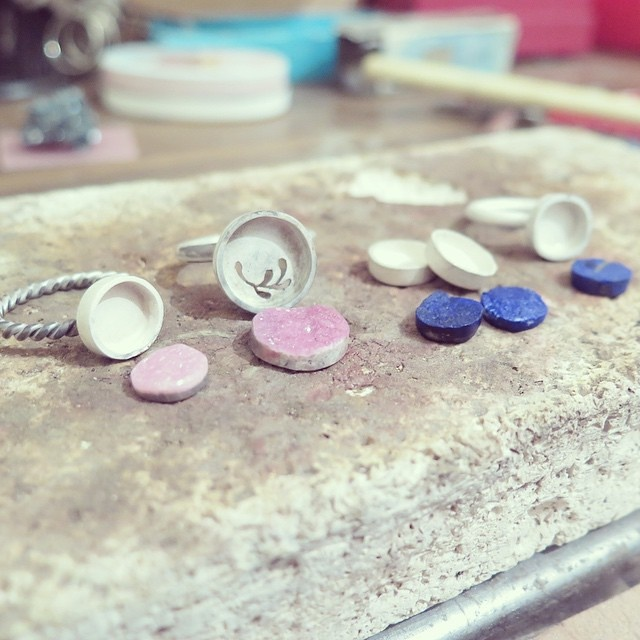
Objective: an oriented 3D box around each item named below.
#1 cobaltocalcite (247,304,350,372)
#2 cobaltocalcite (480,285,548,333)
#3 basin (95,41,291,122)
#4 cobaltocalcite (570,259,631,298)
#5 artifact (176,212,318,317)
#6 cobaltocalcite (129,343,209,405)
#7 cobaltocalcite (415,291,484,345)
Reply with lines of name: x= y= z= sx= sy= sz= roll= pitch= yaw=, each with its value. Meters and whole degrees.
cobaltocalcite: x=-0.030 y=0.023 z=1.065 sx=0.132 sy=0.053 sz=0.102 roll=-1 pitch=34 yaw=-3
cobaltocalcite: x=0.284 y=-0.020 z=1.160 sx=0.094 sy=0.034 sz=0.105 roll=16 pitch=36 yaw=22
basin: x=-0.274 y=-0.471 z=1.573 sx=0.391 sy=0.134 sz=0.157 roll=12 pitch=39 yaw=16
cobaltocalcite: x=0.453 y=-0.078 z=1.268 sx=0.092 sy=0.035 sz=0.121 roll=14 pitch=35 yaw=19
artifact: x=-0.074 y=-0.079 z=1.109 sx=0.115 sy=0.150 sz=0.127 roll=16 pitch=42 yaw=16
cobaltocalcite: x=-0.192 y=0.066 z=1.005 sx=0.096 sy=0.017 sz=0.080 roll=-14 pitch=35 yaw=-15
cobaltocalcite: x=0.182 y=-0.005 z=1.114 sx=0.087 sy=0.029 sz=0.098 roll=32 pitch=51 yaw=32
